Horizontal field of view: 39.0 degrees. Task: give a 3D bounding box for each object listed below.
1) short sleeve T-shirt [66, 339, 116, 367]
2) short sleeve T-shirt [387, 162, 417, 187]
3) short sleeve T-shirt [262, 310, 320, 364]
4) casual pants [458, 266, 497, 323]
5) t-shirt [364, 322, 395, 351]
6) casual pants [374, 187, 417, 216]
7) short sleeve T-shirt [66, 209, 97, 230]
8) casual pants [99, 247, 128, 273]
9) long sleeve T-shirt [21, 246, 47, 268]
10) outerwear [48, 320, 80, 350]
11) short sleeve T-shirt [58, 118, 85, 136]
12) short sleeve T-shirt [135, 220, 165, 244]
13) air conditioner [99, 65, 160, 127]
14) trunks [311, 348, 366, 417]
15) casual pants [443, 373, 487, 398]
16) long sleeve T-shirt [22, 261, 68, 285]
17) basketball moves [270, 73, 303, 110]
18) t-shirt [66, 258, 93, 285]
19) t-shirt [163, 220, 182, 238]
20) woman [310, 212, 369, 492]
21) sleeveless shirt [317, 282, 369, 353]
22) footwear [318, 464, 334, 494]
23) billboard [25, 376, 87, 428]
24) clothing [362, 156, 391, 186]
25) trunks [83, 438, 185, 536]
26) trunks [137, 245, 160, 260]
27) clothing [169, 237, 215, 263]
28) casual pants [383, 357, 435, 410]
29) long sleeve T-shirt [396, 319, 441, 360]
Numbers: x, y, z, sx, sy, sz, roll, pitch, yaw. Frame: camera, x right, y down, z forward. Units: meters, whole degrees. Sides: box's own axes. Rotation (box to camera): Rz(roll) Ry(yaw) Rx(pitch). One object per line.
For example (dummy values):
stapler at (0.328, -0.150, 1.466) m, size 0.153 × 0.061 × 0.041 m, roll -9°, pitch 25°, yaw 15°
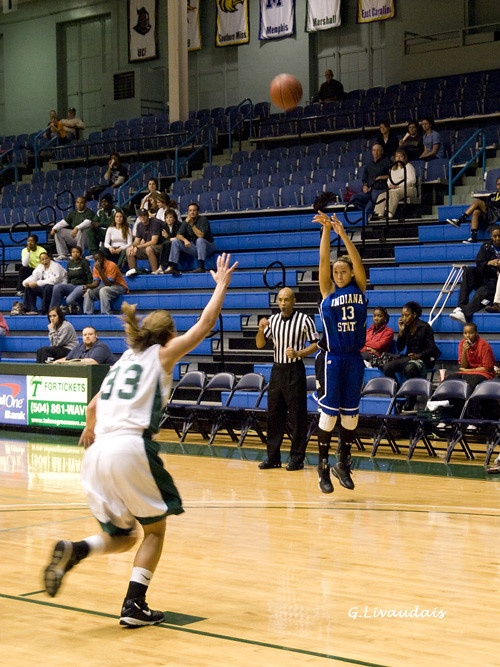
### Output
short sleeve T-shirt at (-1.999, 0.230, 9.237) m, size 0.575 × 0.289 × 0.374 m, roll -3°, pitch -1°, yaw 31°
short sleeve T-shirt at (2.455, -2.564, 11.457) m, size 0.502 × 0.419 × 0.301 m, roll 1°, pitch -2°, yaw 43°
short sleeve T-shirt at (0.436, 0.043, 7.312) m, size 0.699 × 0.632 × 0.255 m, roll -1°, pitch -10°, yaw 21°
casual pants at (2.854, -0.535, 8.936) m, size 0.307 × 0.470 × 0.971 m, roll 20°, pitch 42°, yaw 28°
t-shirt at (1.591, 0.049, 8.741) m, size 0.344 × 0.306 × 0.245 m, roll 4°, pitch 11°, yaw 21°
casual pants at (2.367, -2.114, 11.467) m, size 0.874 × 0.496 × 0.454 m, roll -7°, pitch 12°, yaw -36°
short sleeve T-shirt at (-3.270, -2.221, 13.619) m, size 0.450 × 0.402 × 0.565 m, roll -8°, pitch -3°, yaw 5°
casual pants at (-2.363, -1.320, 12.656) m, size 0.350 × 0.458 × 0.182 m, roll -2°, pitch 6°, yaw 1°
long sleeve T-shirt at (-3.932, -1.383, 12.841) m, size 0.349 × 0.431 × 0.251 m, roll 31°, pitch 10°, yaw 35°
outerwear at (-2.733, 0.029, 10.322) m, size 0.471 × 0.474 × 0.369 m, roll 0°, pitch -6°, yaw -17°
short sleeve T-shirt at (-5.335, -6.183, 21.246) m, size 0.687 × 0.316 × 0.743 m, roll 5°, pitch 0°, yaw 7°
short sleeve T-shirt at (-1.797, -1.793, 12.700) m, size 0.595 × 0.629 × 0.341 m, roll 5°, pitch 5°, yaw 32°
air conditioner at (-3.764, -7.429, 22.793) m, size 1.945 × 1.876 × 1.015 m, roll 11°, pitch 17°, yaw 36°
trunks at (0.743, 0.364, 5.463) m, size 0.355 × 0.511 × 0.295 m, roll 3°, pitch 4°, yaw 25°
casual pants at (2.391, 0.523, 7.760) m, size 0.276 × 0.102 × 0.270 m, roll -13°, pitch 16°, yaw -42°
long sleeve T-shirt at (-3.585, -1.031, 12.373) m, size 0.434 × 0.384 × 0.605 m, roll -5°, pitch 11°, yaw 38°
basketball moves at (0.860, -5.989, 17.380) m, size 0.855 × 1.021 × 0.857 m, roll -2°, pitch 4°, yaw -5°
t-shirt at (-2.994, -1.071, 12.351) m, size 0.499 × 0.522 × 0.286 m, roll 0°, pitch -5°, yaw 13°
t-shirt at (-1.362, -1.829, 12.381) m, size 0.346 × 0.356 × 0.205 m, roll 1°, pitch -4°, yaw 9°
woman at (0.773, 0.142, 5.458) m, size 0.476 × 2.170 × 0.373 m, roll -1°, pitch -1°, yaw 20°
sleeveless shirt at (0.706, -0.121, 5.365) m, size 0.350 × 0.547 × 0.224 m, roll 1°, pitch 10°, yaw 6°
footwear at (0.583, 1.116, 5.494) m, size 0.095 × 0.174 × 0.252 m, roll -3°, pitch 22°, yaw -5°
billboard at (-2.615, 0.882, 9.471) m, size 1.232 × 0.759 × 0.106 m, roll 0°, pitch -5°, yaw 26°
clothing at (2.130, -2.689, 11.875) m, size 0.417 × 0.520 × 0.688 m, roll 0°, pitch 10°, yaw 3°
trunks at (-0.425, 0.544, 2.560) m, size 0.359 × 0.422 × 0.250 m, roll -3°, pitch 10°, yaw -14°
trunks at (-1.774, -1.415, 12.502) m, size 0.287 × 0.280 × 0.105 m, roll -2°, pitch 3°, yaw 14°
clothing at (-0.996, -1.446, 12.053) m, size 0.433 × 0.312 × 0.595 m, roll 0°, pitch 14°, yaw 44°
casual pants at (1.838, 0.534, 8.250) m, size 0.577 × 0.518 × 0.826 m, roll 3°, pitch 10°, yaw 15°
long sleeve T-shirt at (1.992, 0.080, 8.423) m, size 0.427 × 0.558 × 0.494 m, roll -6°, pitch 16°, yaw -8°
